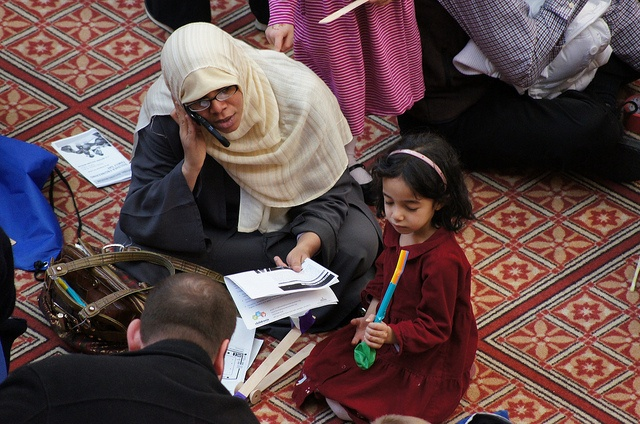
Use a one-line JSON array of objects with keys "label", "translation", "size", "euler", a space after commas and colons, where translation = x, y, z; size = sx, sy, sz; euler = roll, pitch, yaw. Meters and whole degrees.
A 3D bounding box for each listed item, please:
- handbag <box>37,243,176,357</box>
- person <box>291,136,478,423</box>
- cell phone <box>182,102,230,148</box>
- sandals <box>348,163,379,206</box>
[{"label": "handbag", "translation": [-1.086, 0.397, 3.244], "size": [0.644, 0.300, 0.519], "euler": [-29, 72, -30]}, {"label": "person", "translation": [0.296, 0.393, 3.083], "size": [0.834, 1.313, 0.760], "euler": [-11, 38, -12]}, {"label": "cell phone", "translation": [-0.610, -0.475, 3.221], "size": [0.032, 0.167, 0.297], "euler": [-52, 32, -6]}, {"label": "sandals", "translation": [0.266, -0.170, 3.918], "size": [0.095, 0.196, 0.274], "euler": [-23, 78, -17]}]
